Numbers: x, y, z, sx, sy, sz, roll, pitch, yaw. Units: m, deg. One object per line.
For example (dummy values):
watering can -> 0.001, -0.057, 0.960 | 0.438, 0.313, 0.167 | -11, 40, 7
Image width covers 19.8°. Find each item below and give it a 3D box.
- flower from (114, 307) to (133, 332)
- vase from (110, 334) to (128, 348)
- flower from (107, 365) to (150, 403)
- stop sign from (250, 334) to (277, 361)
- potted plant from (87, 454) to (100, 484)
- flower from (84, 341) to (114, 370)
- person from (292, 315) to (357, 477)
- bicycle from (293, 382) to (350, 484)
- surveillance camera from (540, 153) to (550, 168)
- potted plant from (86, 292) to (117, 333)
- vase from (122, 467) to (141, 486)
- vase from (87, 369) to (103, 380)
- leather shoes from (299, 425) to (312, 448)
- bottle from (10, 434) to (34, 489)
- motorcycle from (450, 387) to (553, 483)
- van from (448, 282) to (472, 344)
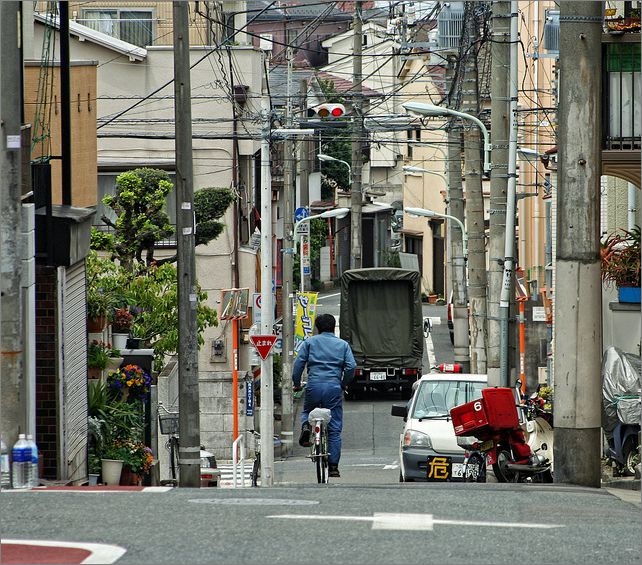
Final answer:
flower -> -2.895, 0.549, 26.691 | 0.297, 0.355, 0.301 | 2, 0, 7
vase -> -2.957, 0.851, 26.869 | 0.191, 0.155, 0.195 | -1, 8, -9
flower -> -2.682, 1.416, 25.522 | 0.486, 0.525, 0.486 | 2, 2, -16
stop sign -> -0.929, 1.039, 29.503 | 0.395, 0.388, 0.381 | -1, -1, -2
potted plant -> -2.978, 2.426, 24.102 | 0.157, 0.428, 0.463 | -1, -1, -7
flower -> -3.008, 0.984, 24.838 | 0.319, 0.268, 0.370 | 4, -2, -1
person -> 0.025, 1.507, 25.002 | 0.960, 2.241, 0.847 | 1, -3, 14
bicycle -> -0.046, 2.206, 25.448 | 0.770, 1.133, 1.920 | -9, -13, -12
surveillance camera -> 4.170, -2.294, 34.054 | 0.108, 0.309, 0.231 | -1, 0, -35
potted plant -> -3.012, 0.398, 25.141 | 0.445, 0.552, 0.532 | 1, -5, 0
vase -> -2.566, 2.626, 24.776 | 0.243, 0.198, 0.262 | 1, -13, 1
vase -> -3.054, 1.223, 24.768 | 0.144, 0.113, 0.150 | 3, 1, 22
leather shoes -> -0.209, 2.087, 24.778 | 0.116, 0.152, 0.358 | 3, -43, -2
bottle -> -3.419, 2.046, 20.986 | 0.235, 0.593, 0.117 | -1, -1, -11
motorcycle -> 2.290, 1.993, 23.951 | 1.193, 1.234, 0.668 | -2, -1, 8
van -> 4.310, 1.155, 57.535 | 0.825, 0.855, 1.865 | 0, 8, 4
